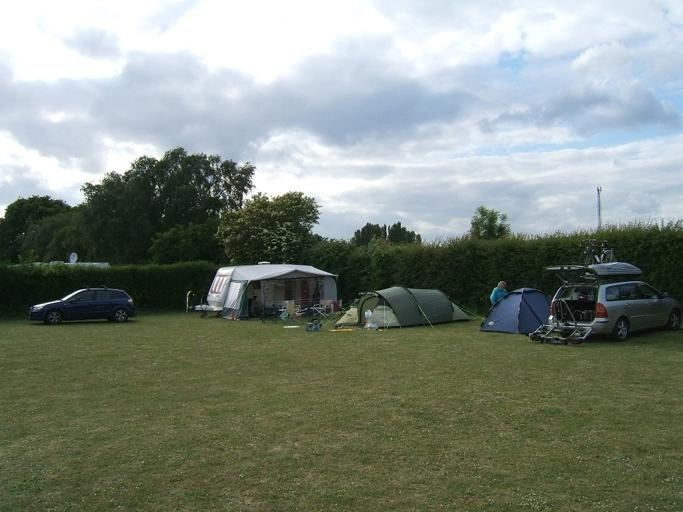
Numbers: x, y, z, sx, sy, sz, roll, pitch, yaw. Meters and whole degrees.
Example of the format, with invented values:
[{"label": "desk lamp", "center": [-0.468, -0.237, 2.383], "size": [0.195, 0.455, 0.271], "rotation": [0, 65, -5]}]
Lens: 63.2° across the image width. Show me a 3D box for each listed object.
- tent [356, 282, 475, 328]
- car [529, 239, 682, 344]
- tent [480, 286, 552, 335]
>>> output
[{"label": "tent", "center": [2.986, 1.914, 21.249], "size": [4.675, 1.542, 2.006], "rotation": [-3, 6, -21]}, {"label": "car", "center": [7.166, 1.276, 16.107], "size": [5.494, 2.531, 2.228], "rotation": [-1, -1, -35]}, {"label": "tent", "center": [5.862, 1.344, 18.258], "size": [1.762, 0.939, 1.912], "rotation": [-2, 21, -19]}]
